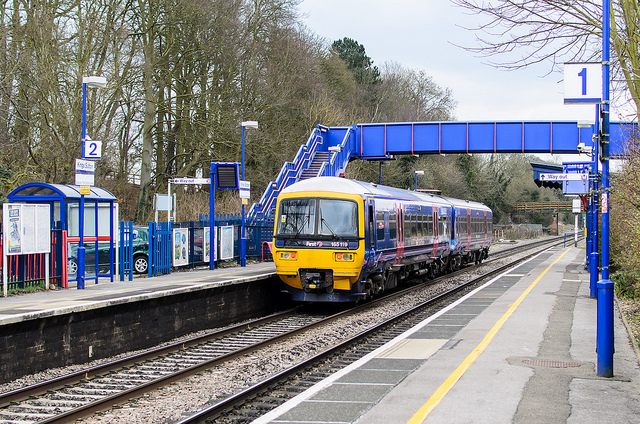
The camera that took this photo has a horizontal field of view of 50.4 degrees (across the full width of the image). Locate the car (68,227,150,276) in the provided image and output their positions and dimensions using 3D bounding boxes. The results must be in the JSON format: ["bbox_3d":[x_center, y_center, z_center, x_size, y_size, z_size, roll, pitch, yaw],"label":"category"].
[{"bbox_3d":[-8.779,1.584,28.191,3.119,1.568,1.840,2,-3,-2],"label":"car"}]

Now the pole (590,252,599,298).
[{"bbox_3d":[9.353,2.175,23.338,0.379,1.586,0.378,6,-18,9],"label":"pole"}]

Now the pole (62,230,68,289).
[{"bbox_3d":[-7.973,1.473,21.326,0.191,1.833,0.195,-4,5,-26],"label":"pole"}]

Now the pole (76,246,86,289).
[{"bbox_3d":[-7.495,1.740,21.377,0.246,1.273,0.638,-4,5,-19],"label":"pole"}]

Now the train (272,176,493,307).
[{"bbox_3d":[4.554,0.896,32.746,2.996,4.264,23.565,-1,-1,24],"label":"train"}]
